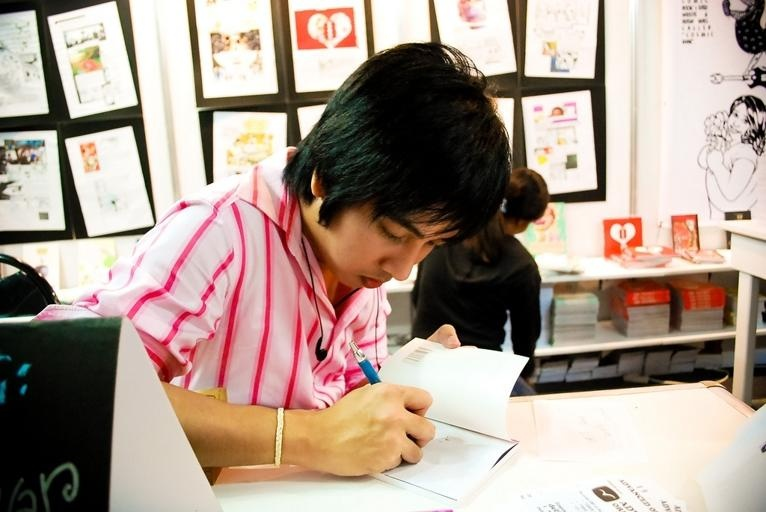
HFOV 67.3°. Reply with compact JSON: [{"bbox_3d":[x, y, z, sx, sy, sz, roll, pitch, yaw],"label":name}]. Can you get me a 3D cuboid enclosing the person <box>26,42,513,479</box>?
[{"bbox_3d":[-0.182,0.006,1.405,0.961,0.956,0.441,-4,11,-5],"label":"person"}]
